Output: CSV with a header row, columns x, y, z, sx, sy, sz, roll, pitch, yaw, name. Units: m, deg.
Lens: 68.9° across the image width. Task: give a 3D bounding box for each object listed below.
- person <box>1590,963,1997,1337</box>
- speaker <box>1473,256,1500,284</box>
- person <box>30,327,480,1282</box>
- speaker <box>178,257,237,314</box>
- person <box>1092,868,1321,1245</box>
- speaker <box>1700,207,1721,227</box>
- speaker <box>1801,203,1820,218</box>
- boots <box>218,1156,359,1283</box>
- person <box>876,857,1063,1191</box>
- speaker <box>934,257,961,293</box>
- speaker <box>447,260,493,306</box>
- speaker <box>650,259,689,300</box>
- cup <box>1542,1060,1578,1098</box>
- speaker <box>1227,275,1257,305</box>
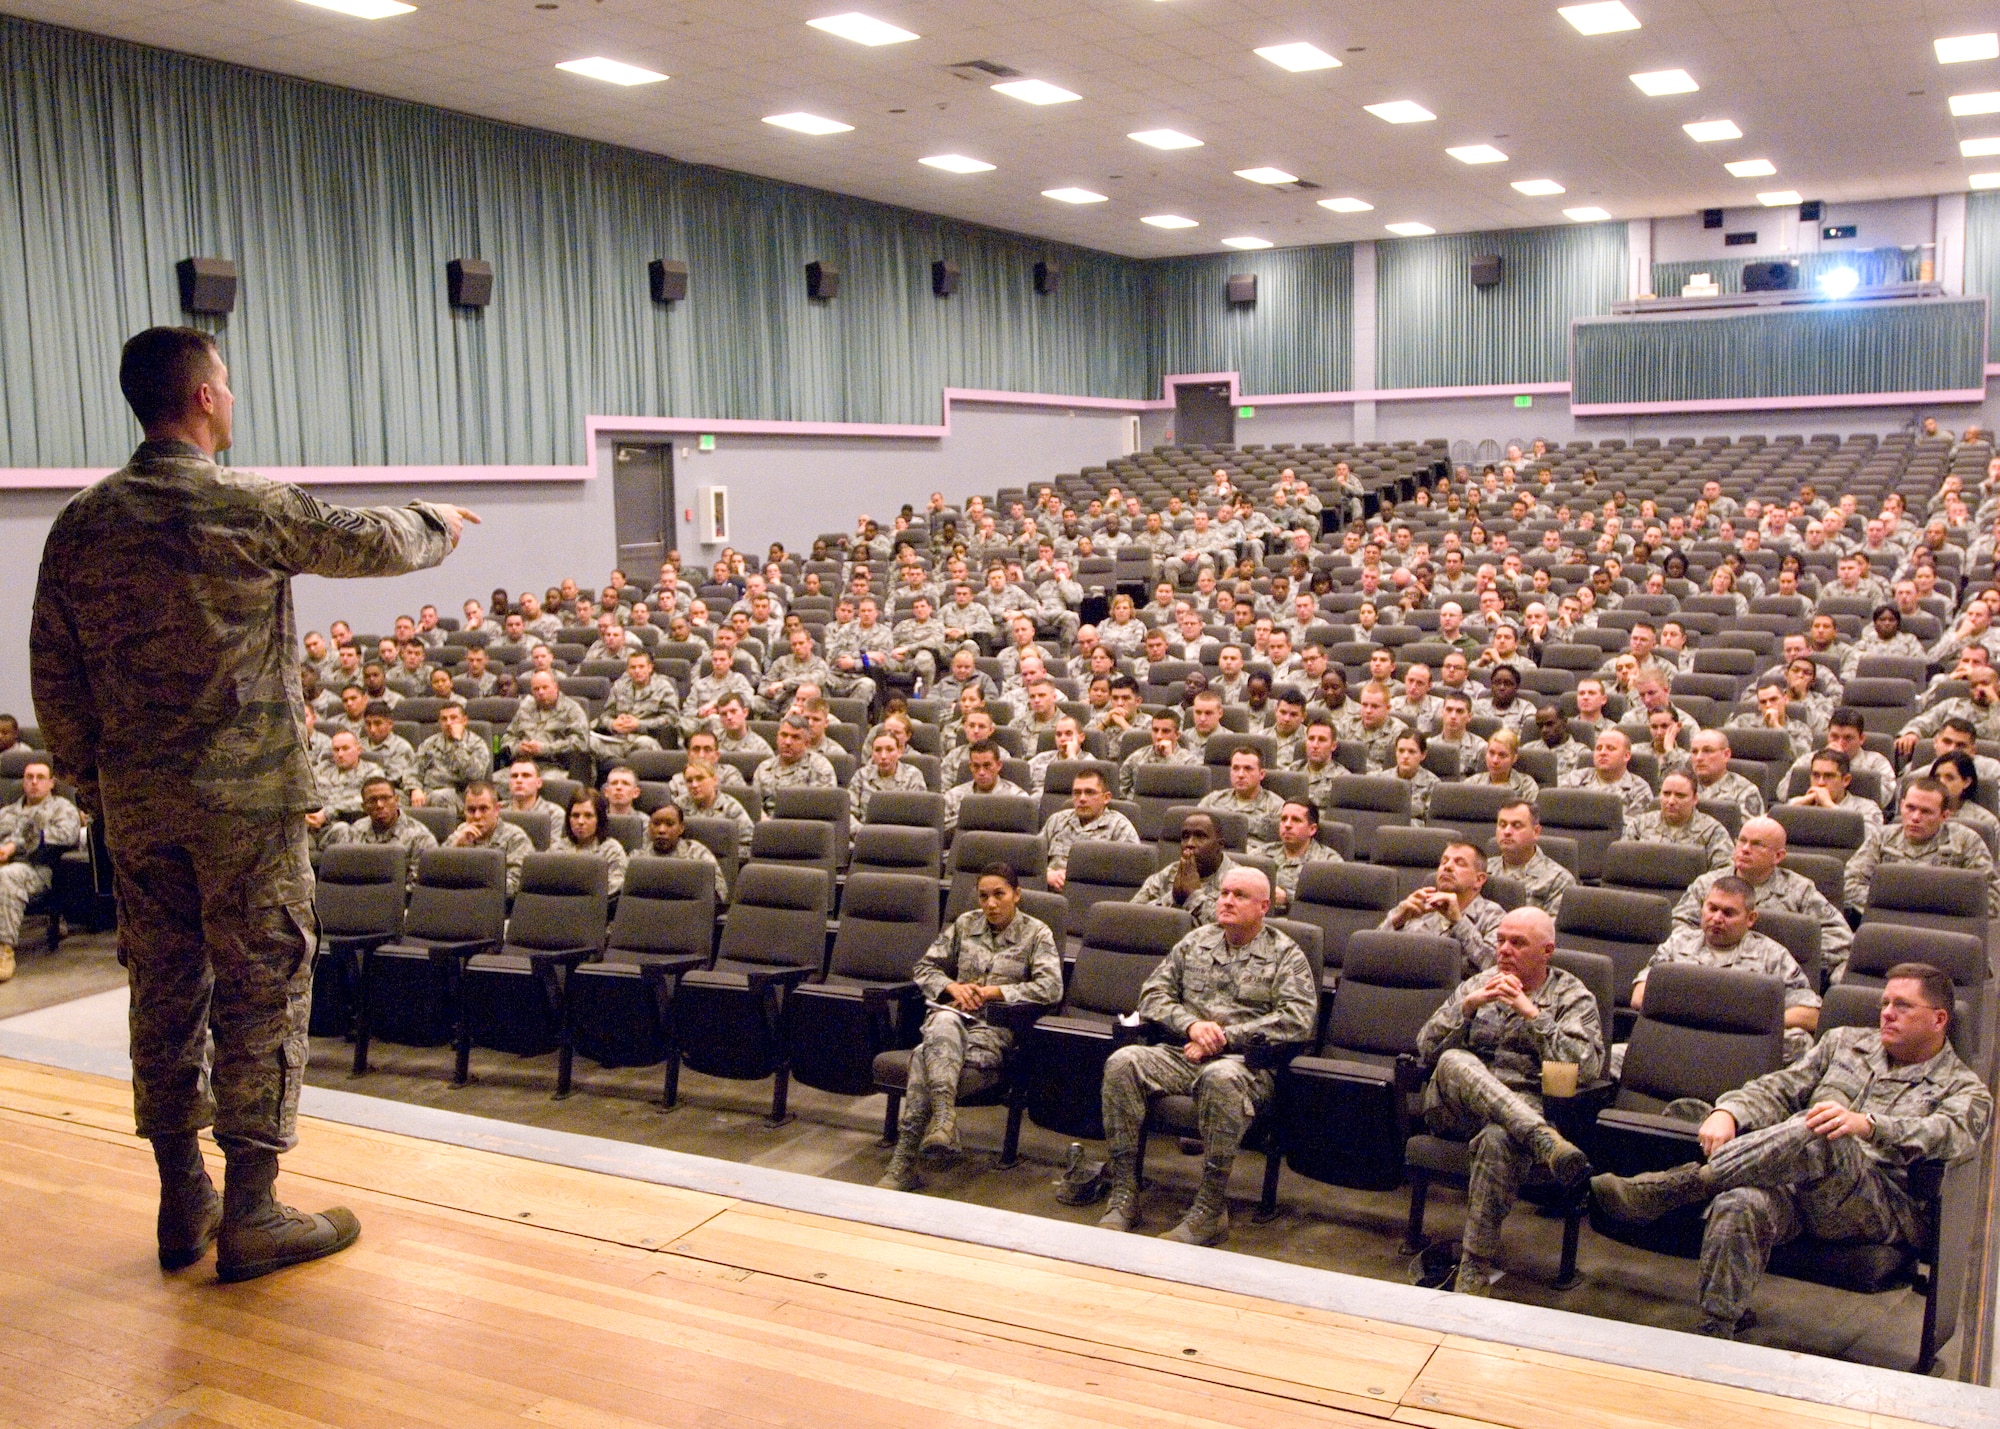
x,y,z,sx,sy,sz,roll,pitch,yaw,name
2.584,1.455,4.769,1.040,1.135,0.632,23,-27,-11,person
8.398,-7.658,25.241,0.483,0.404,0.443,0,0,31,speaker
-1.601,0.310,3.062,0.752,1.745,0.292,-2,10,-18,person
-7.407,-4.009,13.561,0.379,0.480,0.550,4,7,27,speaker
0.809,1.296,5.646,0.779,1.295,0.984,4,9,14,person
11.934,-8.329,24.452,0.372,0.309,0.106,5,10,21,speaker
13.284,-8.282,23.862,0.224,0.200,0.115,7,22,25,speaker
-1.561,1.069,3.175,0.156,0.257,0.365,-11,-12,24,boots
-0.137,1.379,6.142,0.608,0.983,1.015,6,10,25,person
-0.837,-6.895,22.931,0.204,0.607,0.570,5,10,24,speaker
-5.843,-4.752,15.969,0.347,0.449,0.508,11,13,27,speaker
-4.171,-5.467,18.477,0.254,0.566,0.546,6,10,29,speaker
1.935,1.252,5.042,0.121,0.076,0.112,-1,0,0,cup
4.441,-7.823,26.694,0.589,0.515,0.285,1,-1,38,speaker
